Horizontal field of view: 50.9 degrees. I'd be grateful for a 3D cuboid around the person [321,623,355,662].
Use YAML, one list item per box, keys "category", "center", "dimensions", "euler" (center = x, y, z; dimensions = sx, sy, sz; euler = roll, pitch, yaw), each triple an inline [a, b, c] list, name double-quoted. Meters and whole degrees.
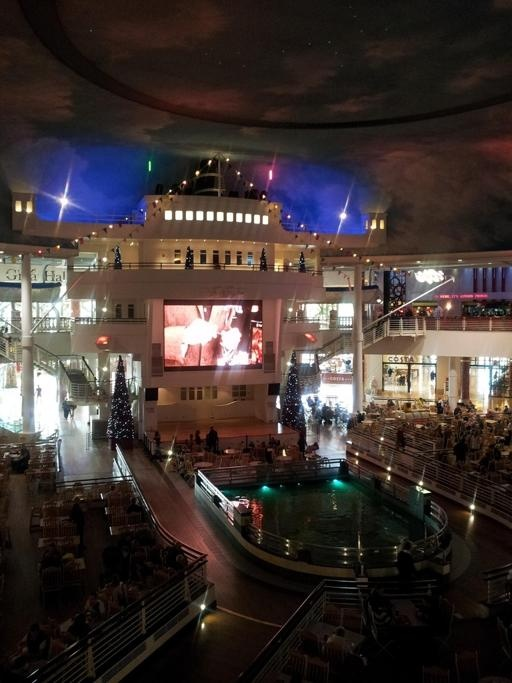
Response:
- category: "person"
  center: [1.206, 4.541, 7.926]
  dimensions: [0.449, 0.267, 0.910]
  euler: [0, 0, 10]
